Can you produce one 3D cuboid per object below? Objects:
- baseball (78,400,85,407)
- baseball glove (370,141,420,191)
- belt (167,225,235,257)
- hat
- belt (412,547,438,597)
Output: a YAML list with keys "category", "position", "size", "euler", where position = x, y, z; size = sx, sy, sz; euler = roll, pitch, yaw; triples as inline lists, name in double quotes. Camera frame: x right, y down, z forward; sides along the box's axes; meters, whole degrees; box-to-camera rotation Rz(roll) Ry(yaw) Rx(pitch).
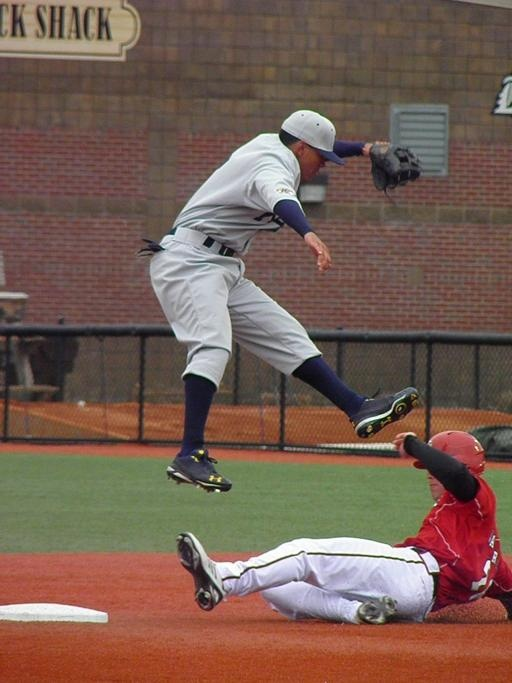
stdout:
- category: "baseball"
  position: [-1.759, 0.633, 18.262]
  size: [0.035, 0.036, 0.073]
  euler: [13, -21, 1]
- category: "baseball glove"
  position: [1.000, -1.270, 13.040]
  size: [0.375, 0.372, 0.300]
  euler: [-8, -10, 38]
- category: "belt"
  position: [-0.359, -0.671, 12.332]
  size: [0.304, 0.083, 0.238]
  euler: [26, -7, 13]
- category: "hat"
  position: [0.385, -1.450, 12.466]
  size: [0.441, 0.230, 0.293]
  euler: [27, 10, -11]
- category: "belt"
  position: [1.071, 1.479, 11.421]
  size: [0.126, 0.250, 0.187]
  euler: [1, 0, -5]
